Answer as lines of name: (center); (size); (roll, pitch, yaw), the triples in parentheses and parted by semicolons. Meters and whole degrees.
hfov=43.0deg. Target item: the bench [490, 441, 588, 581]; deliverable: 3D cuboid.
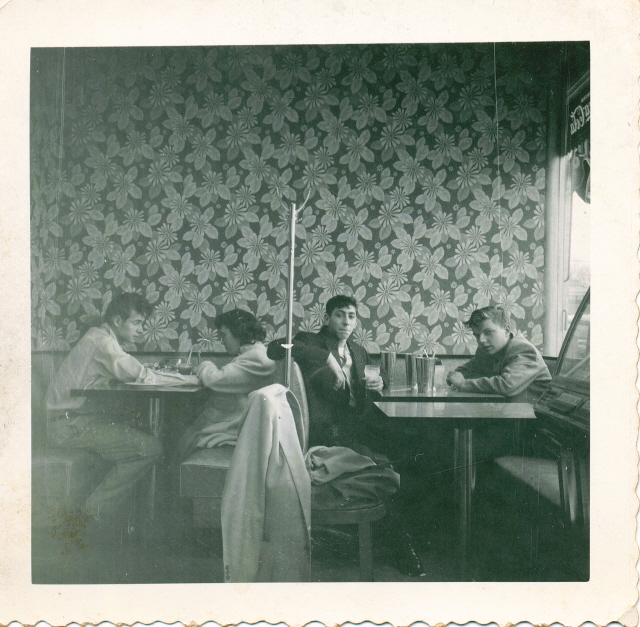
bench: (0.658, 0.612, 2.399); (0.279, 0.385, 0.079); (0, -3, 9)
